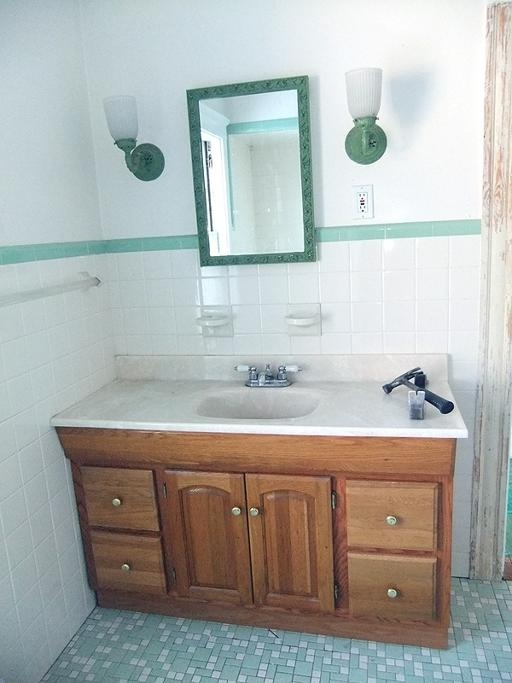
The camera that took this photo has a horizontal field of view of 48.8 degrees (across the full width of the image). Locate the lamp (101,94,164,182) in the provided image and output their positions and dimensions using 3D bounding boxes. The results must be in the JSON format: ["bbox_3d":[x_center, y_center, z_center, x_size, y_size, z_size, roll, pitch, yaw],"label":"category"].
[{"bbox_3d":[-0.469,-0.751,2.122,0.186,0.276,0.257,-2,11,9],"label":"lamp"}]

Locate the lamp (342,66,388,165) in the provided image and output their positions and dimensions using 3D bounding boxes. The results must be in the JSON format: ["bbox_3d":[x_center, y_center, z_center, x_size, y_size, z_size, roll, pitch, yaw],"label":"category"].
[{"bbox_3d":[0.365,-0.747,1.887,0.135,0.272,0.169,-2,12,12],"label":"lamp"}]
